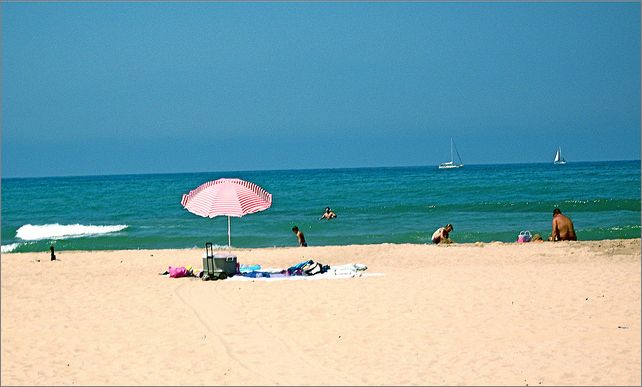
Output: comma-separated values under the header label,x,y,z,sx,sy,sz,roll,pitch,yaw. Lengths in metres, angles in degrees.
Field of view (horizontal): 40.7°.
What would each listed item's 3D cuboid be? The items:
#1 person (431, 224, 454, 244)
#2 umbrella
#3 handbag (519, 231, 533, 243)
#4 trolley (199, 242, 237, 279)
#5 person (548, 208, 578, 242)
label,x,y,z,sx,sy,sz,roll,pitch,yaw
person,5.705,1.912,40.834,0.868,0.857,1.407,-4,-5,6
umbrella,-3.606,0.840,33.767,2.796,2.202,2.769,-11,20,-39
handbag,9.470,1.968,40.032,0.503,0.466,0.367,0,7,-31
trolley,-4.035,2.710,33.743,1.563,1.450,1.083,-1,0,21
person,10.430,1.330,37.411,1.054,1.421,0.585,-4,-5,14
